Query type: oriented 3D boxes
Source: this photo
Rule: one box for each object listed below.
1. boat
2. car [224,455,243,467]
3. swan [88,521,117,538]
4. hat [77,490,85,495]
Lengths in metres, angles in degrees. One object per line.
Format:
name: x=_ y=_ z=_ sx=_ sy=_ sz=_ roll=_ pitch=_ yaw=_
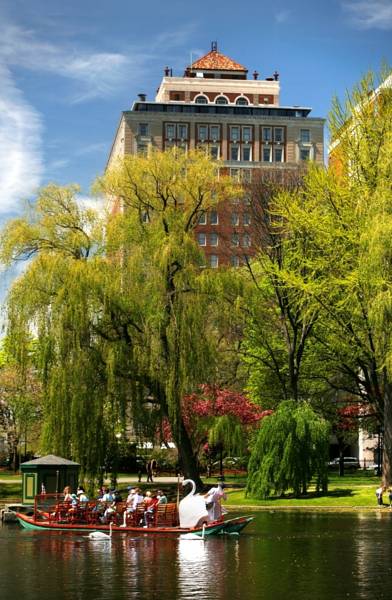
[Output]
boat: x=-1.639 y=5.921 z=30.129 sx=7.072 sy=1.491 sz=2.501 roll=-11 pitch=-15 yaw=39
car: x=2.309 y=10.097 z=67.208 sx=1.165 sy=0.829 sz=4.439 roll=-1 pitch=-12 yaw=1
swan: x=-2.476 y=6.189 z=28.881 sx=0.784 sy=0.729 sz=0.315 roll=-1 pitch=1 yaw=8
hat: x=-3.488 y=5.806 z=32.331 sx=0.263 sy=0.172 sz=0.308 roll=-3 pitch=-11 yaw=-1
